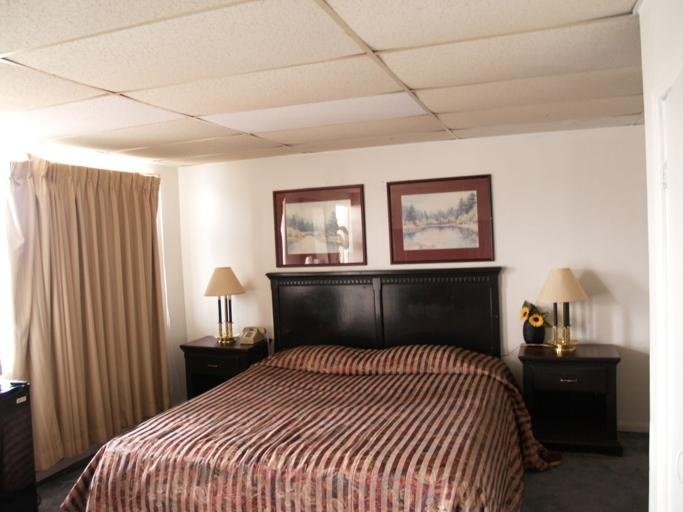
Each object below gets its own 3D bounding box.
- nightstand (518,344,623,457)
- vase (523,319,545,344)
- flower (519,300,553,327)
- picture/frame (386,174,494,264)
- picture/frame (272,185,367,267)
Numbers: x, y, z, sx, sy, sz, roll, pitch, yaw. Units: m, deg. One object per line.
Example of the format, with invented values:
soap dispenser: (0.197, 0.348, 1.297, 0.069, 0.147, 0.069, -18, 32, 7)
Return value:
nightstand: (1.836, 1.069, 4.453, 0.960, 0.889, 0.758, -1, 3, 26)
vase: (1.555, 0.622, 4.465, 0.197, 0.234, 0.191, 0, 8, 10)
flower: (1.581, 0.461, 4.434, 0.221, 0.066, 0.229, 26, 13, 20)
picture/frame: (0.902, -0.332, 4.717, 0.804, 0.655, 0.033, -2, -1, 18)
picture/frame: (-0.161, -0.292, 5.050, 0.799, 0.652, 0.032, -1, 0, 15)
